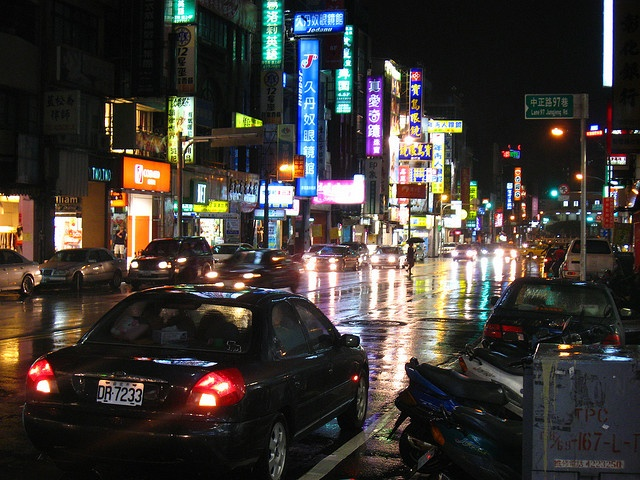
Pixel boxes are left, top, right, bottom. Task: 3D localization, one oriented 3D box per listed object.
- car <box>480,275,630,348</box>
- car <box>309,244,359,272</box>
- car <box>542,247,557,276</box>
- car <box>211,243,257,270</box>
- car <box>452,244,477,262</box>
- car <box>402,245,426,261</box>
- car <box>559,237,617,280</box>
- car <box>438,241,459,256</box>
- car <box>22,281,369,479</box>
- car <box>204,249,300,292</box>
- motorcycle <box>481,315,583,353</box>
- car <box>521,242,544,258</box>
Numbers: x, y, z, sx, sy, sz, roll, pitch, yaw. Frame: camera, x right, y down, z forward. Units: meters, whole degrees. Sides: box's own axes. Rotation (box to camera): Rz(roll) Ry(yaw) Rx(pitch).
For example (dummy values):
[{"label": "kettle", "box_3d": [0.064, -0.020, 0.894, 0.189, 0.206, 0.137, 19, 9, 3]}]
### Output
[{"label": "car", "box_3d": [3.747, 1.112, 10.423, 1.322, 1.028, 2.254, 1, 5, 20]}, {"label": "car", "box_3d": [1.026, 1.262, 46.185, 1.982, 1.738, 3.459, 1, 1, 44]}, {"label": "car", "box_3d": [16.191, 1.459, 47.164, 1.515, 1.576, 2.720, 1, 10, 13]}, {"label": "car", "box_3d": [-5.107, 0.813, 36.517, 1.342, 1.028, 3.006, -2, -5, 16]}, {"label": "car", "box_3d": [15.350, 1.392, 71.140, 1.627, 1.475, 3.216, 0, -5, 13]}, {"label": "car", "box_3d": [10.016, 1.117, 70.942, 1.866, 1.571, 4.569, -1, -7, 14]}, {"label": "car", "box_3d": [12.432, 1.384, 31.091, 2.494, 2.359, 4.752, 1, 6, 17]}, {"label": "car", "box_3d": [17.127, 1.140, 90.074, 1.776, 1.687, 4.025, -3, -4, 15]}, {"label": "car", "box_3d": [-0.974, 1.363, 6.572, 1.791, 1.743, 3.249, 1, 1, 45]}, {"label": "car", "box_3d": [-2.210, 1.058, 24.141, 1.451, 1.141, 3.396, -1, -6, 29]}, {"label": "motorcycle", "box_3d": [2.965, 1.388, 9.407, 1.208, 0.539, 0.808, 4, 1, 9]}, {"label": "car", "box_3d": [24.372, 1.119, 76.393, 3.230, 1.705, 1.937, 2, -4, -33]}]
